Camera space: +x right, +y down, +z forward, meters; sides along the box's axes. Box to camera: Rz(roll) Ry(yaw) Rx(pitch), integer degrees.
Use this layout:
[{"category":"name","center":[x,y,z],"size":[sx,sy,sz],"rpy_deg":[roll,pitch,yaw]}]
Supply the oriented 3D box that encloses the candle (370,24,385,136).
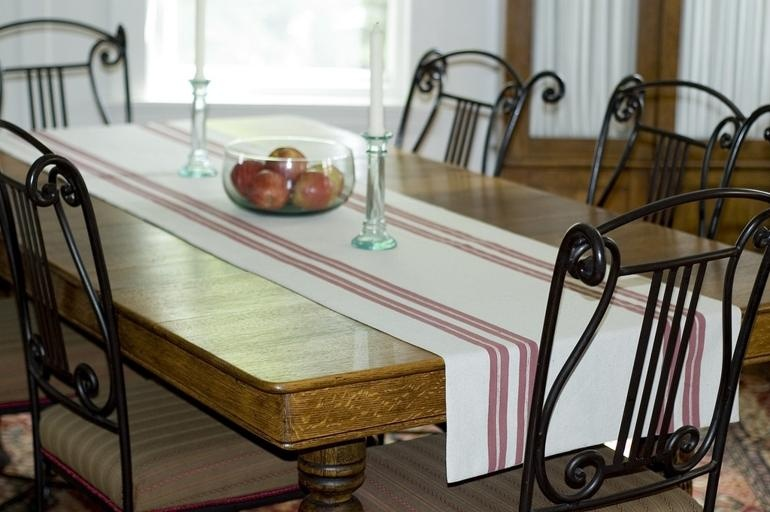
[{"category":"candle","center":[-0.015,-0.360,1.503],"size":[0.042,0.230,0.041],"rpy_deg":[0,9,-5]}]

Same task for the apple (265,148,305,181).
[{"category":"apple","center":[-0.233,-0.214,1.697],"size":[0.076,0.074,0.078],"rpy_deg":[2,7,3]}]

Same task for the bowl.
[{"category":"bowl","center":[-0.236,-0.205,1.879],"size":[0.353,0.155,0.346],"rpy_deg":[5,24,-2]}]

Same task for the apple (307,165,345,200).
[{"category":"apple","center":[-0.135,-0.179,1.756],"size":[0.069,0.071,0.070],"rpy_deg":[3,51,20]}]

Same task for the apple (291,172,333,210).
[{"category":"apple","center":[-0.170,-0.154,1.733],"size":[0.080,0.082,0.088],"rpy_deg":[-1,5,-11]}]

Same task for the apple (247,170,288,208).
[{"category":"apple","center":[-0.273,-0.161,1.727],"size":[0.081,0.085,0.082],"rpy_deg":[3,7,6]}]
